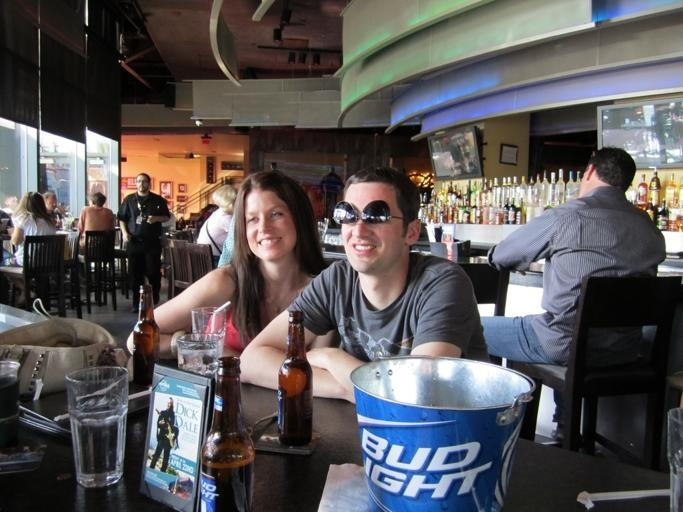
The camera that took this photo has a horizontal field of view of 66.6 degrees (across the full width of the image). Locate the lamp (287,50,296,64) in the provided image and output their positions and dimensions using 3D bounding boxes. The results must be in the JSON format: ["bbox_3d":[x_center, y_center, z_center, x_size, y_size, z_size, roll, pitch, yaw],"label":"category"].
[{"bbox_3d":[-0.916,-3.685,9.618,0.094,0.223,0.309,1,1,2],"label":"lamp"}]

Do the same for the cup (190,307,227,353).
[{"bbox_3d":[-0.385,0.230,1.547,0.111,0.141,0.113,-2,8,0],"label":"cup"}]

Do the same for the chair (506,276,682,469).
[{"bbox_3d":[1.143,0.509,2.292,0.694,0.718,0.419,1,1,6],"label":"chair"}]

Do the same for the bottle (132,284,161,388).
[{"bbox_3d":[-0.550,0.222,1.462,0.069,0.284,0.246,1,1,-21],"label":"bottle"}]

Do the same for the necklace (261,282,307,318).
[{"bbox_3d":[-0.245,0.179,2.210,0.123,0.124,0.167,28,3,17],"label":"necklace"}]

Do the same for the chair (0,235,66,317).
[{"bbox_3d":[-3.164,0.185,5.400,0.529,0.836,1.307,1,1,-28],"label":"chair"}]

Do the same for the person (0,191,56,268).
[{"bbox_3d":[-3.497,-0.262,5.756,0.473,0.904,0.438,8,3,10],"label":"person"}]

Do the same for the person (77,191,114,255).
[{"bbox_3d":[-3.186,-0.420,6.851,0.413,0.785,0.449,1,-1,-4],"label":"person"}]

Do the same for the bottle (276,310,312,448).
[{"bbox_3d":[-0.103,0.267,1.177,0.077,0.296,0.096,1,1,-7],"label":"bottle"}]

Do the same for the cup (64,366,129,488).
[{"bbox_3d":[-0.482,0.347,1.030,0.107,0.207,0.058,1,1,-29],"label":"cup"}]

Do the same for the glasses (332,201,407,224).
[{"bbox_3d":[0.063,-0.135,1.651,0.241,0.078,0.103,2,1,31],"label":"glasses"}]

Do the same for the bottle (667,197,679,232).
[{"bbox_3d":[3.084,-0.351,4.826,0.074,0.247,0.242,2,1,28],"label":"bottle"}]

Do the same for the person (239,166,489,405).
[{"bbox_3d":[0.117,0.090,1.660,0.693,0.713,0.860,-4,4,-34],"label":"person"}]

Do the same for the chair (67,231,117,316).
[{"bbox_3d":[-3.049,0.176,6.503,0.465,0.972,1.854,1,1,-23],"label":"chair"}]
